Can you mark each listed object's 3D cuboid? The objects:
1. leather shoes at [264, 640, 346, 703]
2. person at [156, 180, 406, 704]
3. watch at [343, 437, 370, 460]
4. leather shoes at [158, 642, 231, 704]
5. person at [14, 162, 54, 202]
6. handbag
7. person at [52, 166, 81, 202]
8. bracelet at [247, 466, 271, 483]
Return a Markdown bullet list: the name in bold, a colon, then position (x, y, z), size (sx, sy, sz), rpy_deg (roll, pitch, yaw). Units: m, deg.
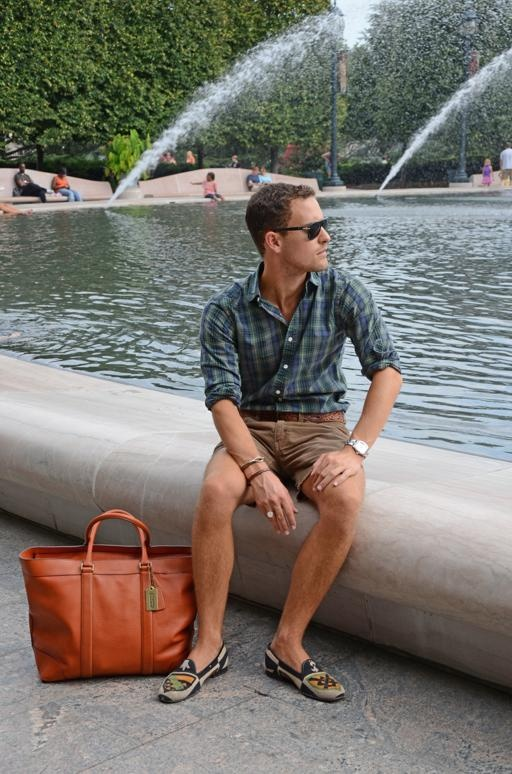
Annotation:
- **leather shoes**: position (0.134, 0.760, 2.064), size (0.227, 0.074, 0.077), rpy_deg (8, 11, 43)
- **person**: position (0.084, 0.063, 2.355), size (0.703, 1.360, 1.072), rpy_deg (1, 15, 9)
- **watch**: position (0.309, 0.190, 2.373), size (0.074, 0.074, 0.044), rpy_deg (-26, 32, 53)
- **leather shoes**: position (-0.169, 0.771, 2.072), size (0.070, 0.069, 0.212), rpy_deg (-8, 3, 40)
- **person**: position (-8.360, -7.540, 28.420), size (0.969, 1.388, 2.659), rpy_deg (-9, 16, -27)
- **handbag**: position (-0.403, 0.598, 2.165), size (0.518, 0.408, 0.186), rpy_deg (0, -11, -13)
- **person**: position (-7.242, -7.618, 28.964), size (0.808, 1.216, 1.828), rpy_deg (-9, 16, -27)
- **bracelet**: position (0.005, 0.269, 2.291), size (0.069, 0.050, 0.042), rpy_deg (-2, 15, -2)
